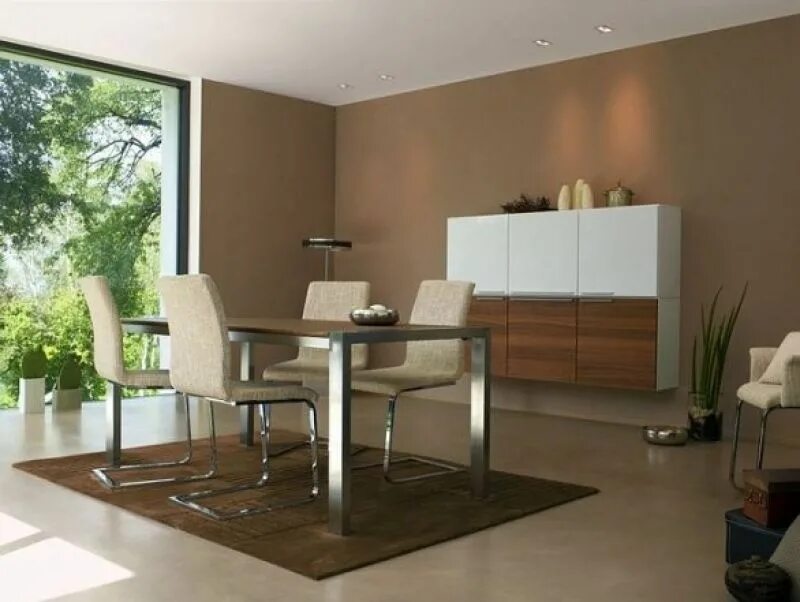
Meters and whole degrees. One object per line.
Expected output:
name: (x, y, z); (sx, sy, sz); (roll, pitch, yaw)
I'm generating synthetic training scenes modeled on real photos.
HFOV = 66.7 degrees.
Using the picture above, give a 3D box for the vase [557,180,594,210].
vase: (1.588, -0.945, 5.493); (0.162, 0.332, 0.337); (-3, 7, -40)

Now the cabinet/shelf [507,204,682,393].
cabinet/shelf: (1.409, -0.017, 5.191); (1.435, 1.432, 0.452); (2, -2, -12)

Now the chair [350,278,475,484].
chair: (0.024, 0.483, 3.902); (0.748, 1.200, 0.645); (-1, 2, -41)

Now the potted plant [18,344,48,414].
potted plant: (-3.374, 0.724, 5.565); (0.243, 0.567, 0.230); (0, 1, -20)
